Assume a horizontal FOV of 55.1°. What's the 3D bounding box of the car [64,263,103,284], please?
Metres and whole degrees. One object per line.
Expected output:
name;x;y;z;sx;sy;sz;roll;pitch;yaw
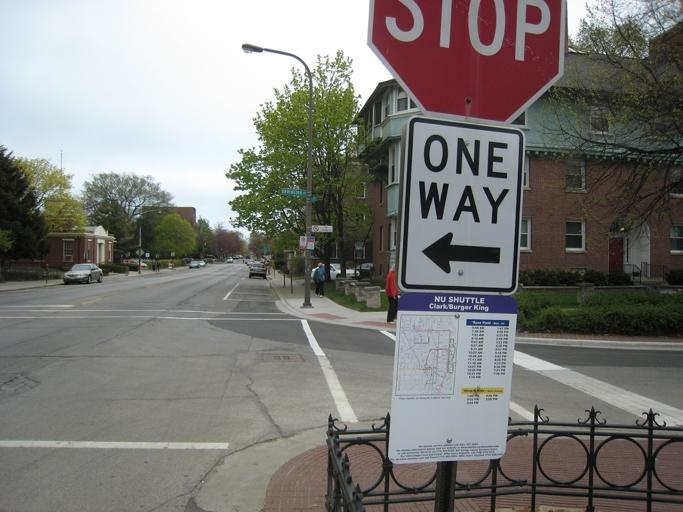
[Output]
car;-16.917;1.141;43.192;1.132;1.000;2.821;-2;-5;-3

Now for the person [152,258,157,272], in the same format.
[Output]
person;-21.546;1.164;75.809;0.415;1.237;2.343;0;0;-11

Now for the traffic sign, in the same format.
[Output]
traffic sign;0.880;-0.358;4.918;1.109;1.690;0.161;2;-2;-9

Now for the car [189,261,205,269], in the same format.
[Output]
car;-21.388;1.225;97.358;1.023;0.805;2.278;-1;-6;-1
